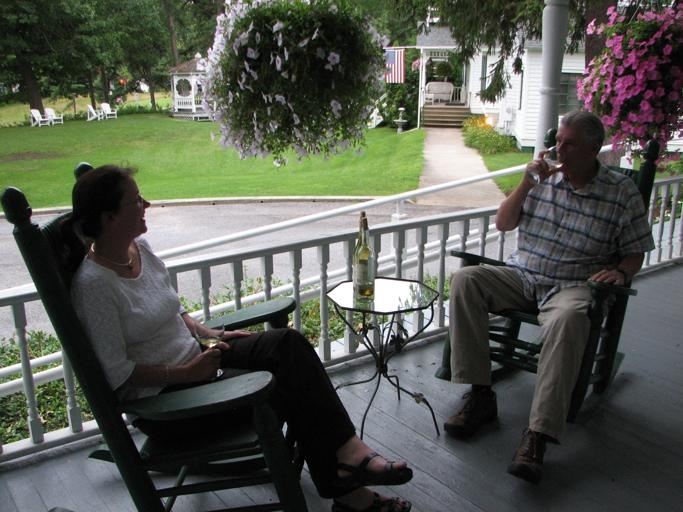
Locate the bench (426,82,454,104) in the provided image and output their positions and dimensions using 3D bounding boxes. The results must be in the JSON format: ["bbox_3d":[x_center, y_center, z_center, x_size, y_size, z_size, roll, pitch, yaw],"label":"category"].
[{"bbox_3d":[3.940,-6.549,22.126,0.912,0.700,0.464,1,27,2],"label":"bench"}]

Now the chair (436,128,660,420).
[{"bbox_3d":[1.247,0.283,3.356,1.087,1.893,0.811,-4,6,-43],"label":"chair"}]

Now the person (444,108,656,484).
[{"bbox_3d":[1.280,0.161,3.081,0.960,1.987,1.140,9,18,-17],"label":"person"}]

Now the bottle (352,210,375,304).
[{"bbox_3d":[0.114,0.006,2.965,0.103,0.500,0.135,-1,6,-11],"label":"bottle"}]

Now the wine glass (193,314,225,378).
[{"bbox_3d":[-0.611,0.412,2.476,0.125,0.260,0.127,4,21,-21],"label":"wine glass"}]

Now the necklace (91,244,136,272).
[{"bbox_3d":[-0.992,0.010,2.372,0.133,0.034,0.113,28,49,-6],"label":"necklace"}]

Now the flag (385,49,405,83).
[{"bbox_3d":[0.253,-0.867,2.512,0.145,0.186,0.006,2,-17,2],"label":"flag"}]

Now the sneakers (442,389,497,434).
[{"bbox_3d":[0.730,0.848,3.132,0.392,0.272,0.153,-8,10,-35],"label":"sneakers"}]
